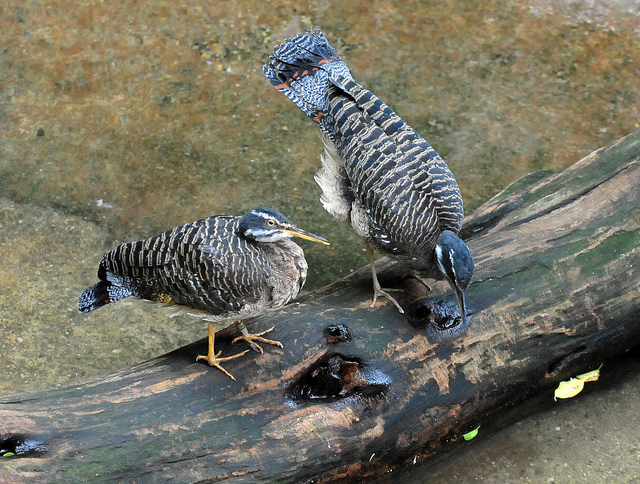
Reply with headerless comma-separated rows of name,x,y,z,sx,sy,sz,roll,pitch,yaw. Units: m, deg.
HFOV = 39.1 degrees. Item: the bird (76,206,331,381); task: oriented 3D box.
bird,-0.858,0.298,6.716,1.570,1.091,0.976,19,44,0
